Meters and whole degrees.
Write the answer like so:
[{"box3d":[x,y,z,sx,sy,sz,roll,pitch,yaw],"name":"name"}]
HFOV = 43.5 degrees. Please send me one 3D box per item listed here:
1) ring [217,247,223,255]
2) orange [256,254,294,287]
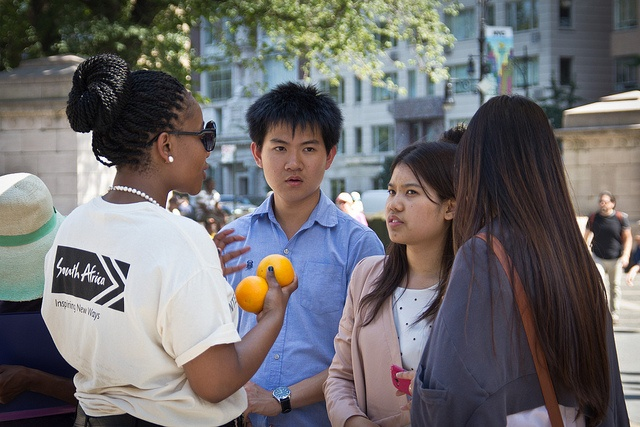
[{"box3d":[-0.754,0.283,5.962,0.039,0.047,0.052,2,4,6],"name":"ring"},{"box3d":[-0.325,0.397,5.715,0.228,0.227,0.220,3,-9,-2],"name":"orange"}]
